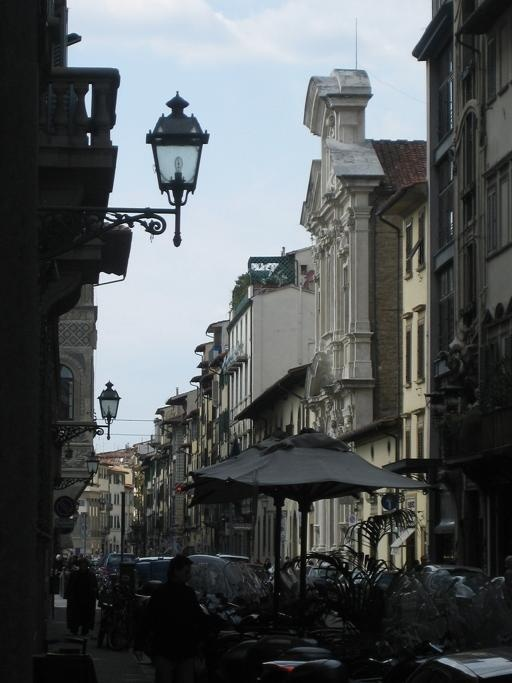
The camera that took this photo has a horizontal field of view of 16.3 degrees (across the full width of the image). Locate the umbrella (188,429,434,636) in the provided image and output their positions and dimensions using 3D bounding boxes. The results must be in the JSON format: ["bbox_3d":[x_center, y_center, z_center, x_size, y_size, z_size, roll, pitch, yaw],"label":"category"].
[{"bbox_3d":[0.348,1.239,16.556,1.641,1.516,1.669,3,-19,-17],"label":"umbrella"}]

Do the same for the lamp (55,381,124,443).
[{"bbox_3d":[-2.873,1.283,30.706,1.023,1.384,0.347,3,-38,9],"label":"lamp"}]

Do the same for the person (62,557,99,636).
[{"bbox_3d":[-2.867,4.273,29.741,0.509,1.286,0.280,2,-38,-5],"label":"person"}]
